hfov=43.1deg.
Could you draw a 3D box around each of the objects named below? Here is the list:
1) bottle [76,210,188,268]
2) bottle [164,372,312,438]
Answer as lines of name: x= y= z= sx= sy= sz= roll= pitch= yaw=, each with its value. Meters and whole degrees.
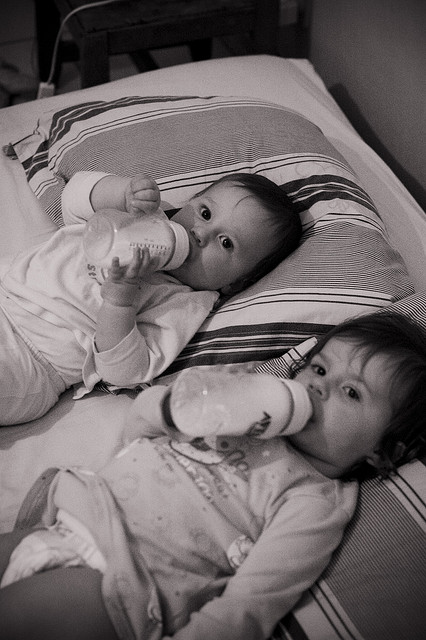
bottle: x=-0.079 y=-0.076 z=0.582 sx=0.113 sy=0.066 sz=0.066 roll=-6 pitch=35 yaw=-17
bottle: x=0.022 y=0.058 z=0.510 sx=0.106 sy=0.047 sz=0.069 roll=-7 pitch=44 yaw=-12
